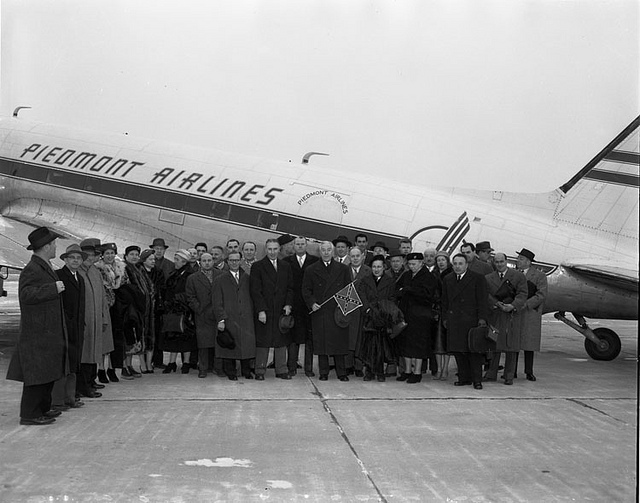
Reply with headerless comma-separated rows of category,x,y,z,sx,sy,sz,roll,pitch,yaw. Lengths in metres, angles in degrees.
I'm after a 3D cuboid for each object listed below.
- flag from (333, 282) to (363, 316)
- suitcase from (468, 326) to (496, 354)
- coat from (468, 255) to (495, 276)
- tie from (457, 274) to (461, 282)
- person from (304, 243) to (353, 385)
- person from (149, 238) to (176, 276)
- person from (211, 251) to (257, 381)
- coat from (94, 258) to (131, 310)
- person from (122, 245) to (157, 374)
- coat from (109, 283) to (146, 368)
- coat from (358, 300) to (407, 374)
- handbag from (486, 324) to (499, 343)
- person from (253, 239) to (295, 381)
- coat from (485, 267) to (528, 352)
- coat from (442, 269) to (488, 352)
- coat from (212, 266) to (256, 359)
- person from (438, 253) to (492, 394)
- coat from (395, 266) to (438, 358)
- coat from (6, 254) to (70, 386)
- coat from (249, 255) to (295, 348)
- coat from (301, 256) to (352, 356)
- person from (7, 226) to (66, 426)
flag,0.444,0.838,10.754,0.529,0.600,0.032,5,-23,-3
suitcase,2.585,1.424,10.141,0.412,0.439,0.137,-2,-1,-11
coat,2.931,0.298,11.659,0.539,0.523,0.305,0,-5,5
tie,2.299,0.461,10.512,0.026,0.125,0.035,4,-29,23
person,0.092,1.016,10.844,0.767,2.300,0.611,1,1,6
person,-3.129,0.111,12.427,0.680,0.726,0.256,1,24,-14
person,-1.451,1.076,10.638,0.750,2.078,0.531,1,1,-14
coat,-3.308,0.519,10.063,0.521,0.723,0.308,0,-6,-42
person,-3.070,1.037,10.760,0.516,2.216,1.371,1,1,-14
coat,-3.160,1.103,10.288,0.817,1.131,0.483,1,9,-16
coat,0.995,1.415,10.682,0.816,1.186,0.419,-11,-5,6
handbag,2.781,1.351,10.235,0.260,0.262,0.103,24,-21,-35
person,-0.813,0.972,10.666,0.681,2.269,0.464,1,1,-6
coat,3.164,0.986,10.758,0.680,1.394,0.536,1,1,17
coat,2.378,0.989,10.451,0.724,1.327,0.355,1,1,12
coat,-1.464,1.057,10.667,0.728,1.450,0.436,1,1,-12
person,2.369,1.143,10.460,0.859,2.182,1.268,1,1,11
coat,1.614,1.026,10.932,0.591,1.514,0.675,3,2,-37
coat,-3.458,0.825,7.705,0.668,1.556,0.585,1,1,-16
coat,-0.843,0.852,10.705,0.742,1.558,0.380,1,1,-7
coat,0.079,0.943,10.819,0.848,1.627,0.483,1,1,0
person,-3.531,0.897,7.876,0.643,2.384,1.052,1,1,-23
